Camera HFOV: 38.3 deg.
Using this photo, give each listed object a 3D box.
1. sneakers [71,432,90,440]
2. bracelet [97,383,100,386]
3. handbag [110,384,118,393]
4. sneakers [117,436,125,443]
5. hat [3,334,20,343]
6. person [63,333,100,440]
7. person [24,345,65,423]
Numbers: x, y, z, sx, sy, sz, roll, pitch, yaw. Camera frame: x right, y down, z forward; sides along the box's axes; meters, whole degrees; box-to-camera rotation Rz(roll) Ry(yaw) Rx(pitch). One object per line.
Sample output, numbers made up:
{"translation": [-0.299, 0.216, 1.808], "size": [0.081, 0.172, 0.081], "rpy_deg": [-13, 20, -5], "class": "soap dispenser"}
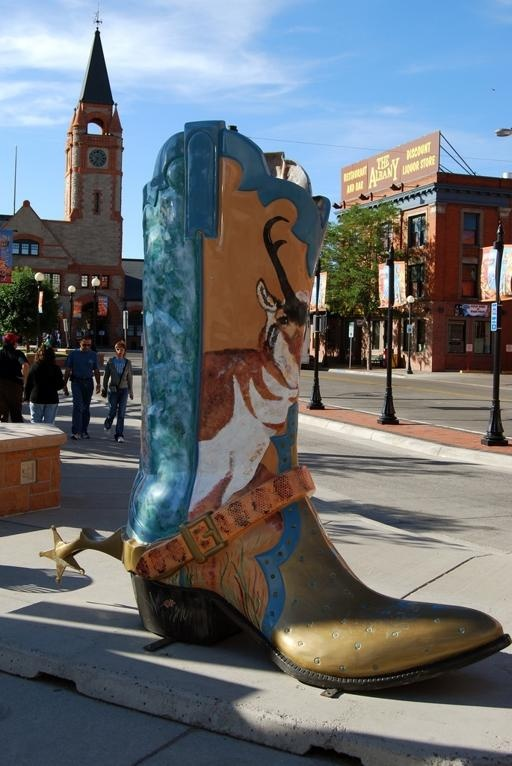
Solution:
{"translation": [-2.582, 0.758, 10.768], "size": [0.267, 0.106, 0.342], "rpy_deg": [-5, 2, -14], "class": "sneakers"}
{"translation": [-2.471, 0.016, 11.471], "size": [0.017, 0.032, 0.045], "rpy_deg": [10, -6, -25], "class": "bracelet"}
{"translation": [-2.112, 0.070, 10.888], "size": [0.137, 0.133, 0.035], "rpy_deg": [2, -3, -7], "class": "handbag"}
{"translation": [-1.958, 0.799, 10.527], "size": [0.049, 0.061, 0.136], "rpy_deg": [1, 18, -7], "class": "sneakers"}
{"translation": [-3.013, -0.555, 9.036], "size": [0.152, 0.152, 0.118], "rpy_deg": [-2, 3, -2], "class": "hat"}
{"translation": [-2.553, 0.056, 10.838], "size": [0.470, 1.410, 1.196], "rpy_deg": [-5, 2, -14], "class": "person"}
{"translation": [-2.757, 0.022, 9.572], "size": [0.527, 0.987, 0.892], "rpy_deg": [-5, 2, -18], "class": "person"}
